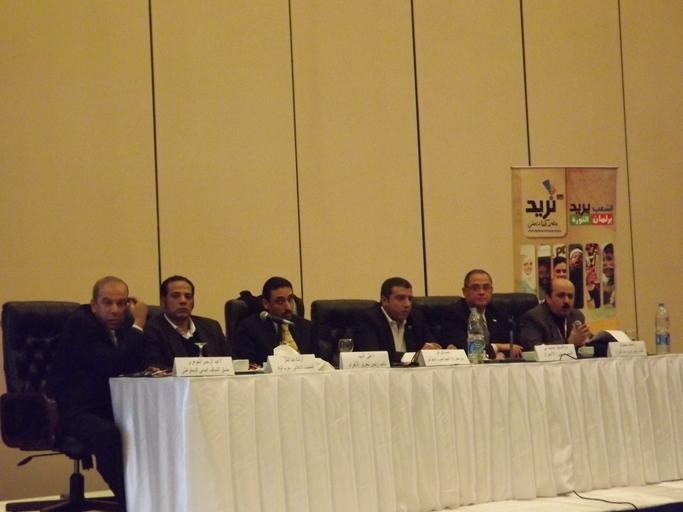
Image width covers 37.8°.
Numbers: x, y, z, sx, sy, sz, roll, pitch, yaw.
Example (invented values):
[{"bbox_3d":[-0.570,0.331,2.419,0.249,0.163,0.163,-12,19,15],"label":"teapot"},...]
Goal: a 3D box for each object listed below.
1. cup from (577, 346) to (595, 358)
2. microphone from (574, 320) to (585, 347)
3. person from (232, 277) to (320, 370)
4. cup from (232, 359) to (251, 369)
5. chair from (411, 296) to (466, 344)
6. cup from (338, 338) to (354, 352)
[{"bbox_3d":[1.570,0.632,6.384,0.071,0.058,0.066,-1,-5,0],"label":"cup"},{"bbox_3d":[1.574,0.519,6.510,0.047,0.179,0.114,2,-5,1],"label":"microphone"},{"bbox_3d":[-0.479,0.496,6.900,0.389,1.056,0.325,1,-13,-22],"label":"person"},{"bbox_3d":[-0.597,0.657,5.921,0.069,0.057,0.080,1,2,8],"label":"cup"},{"bbox_3d":[0.702,0.473,7.311,0.276,0.502,0.329,0,-15,1],"label":"chair"},{"bbox_3d":[0.020,0.582,6.190,0.079,0.106,0.082,-1,2,0],"label":"cup"}]
